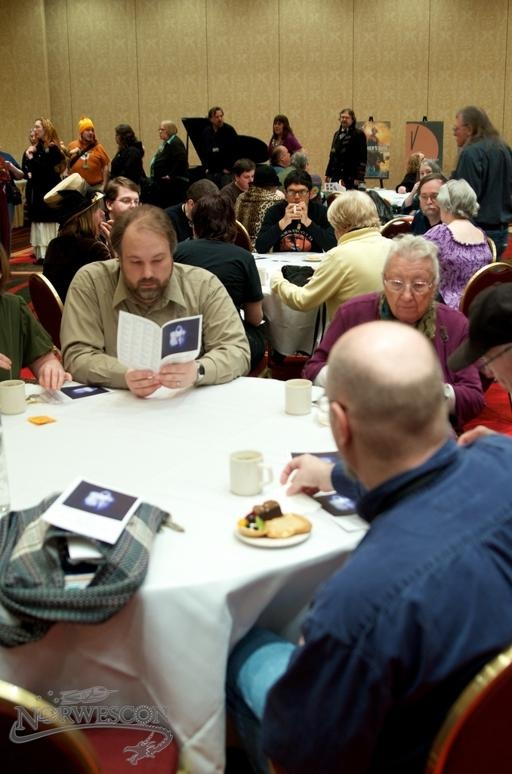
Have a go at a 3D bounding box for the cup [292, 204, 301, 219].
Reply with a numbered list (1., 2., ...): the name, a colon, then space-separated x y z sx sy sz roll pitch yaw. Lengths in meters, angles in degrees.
1. cup: 0.326 -1.386 4.595 0.091 0.118 0.161 0 14 3

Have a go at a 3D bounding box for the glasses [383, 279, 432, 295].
1. glasses: 0.583 -0.381 2.208 0.166 0.054 0.046 3 15 16

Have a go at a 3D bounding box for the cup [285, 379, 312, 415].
1. cup: 0.127 0.033 1.817 0.101 0.102 0.093 2 10 0

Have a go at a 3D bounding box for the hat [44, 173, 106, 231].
1. hat: -1.141 -1.179 3.650 0.322 0.331 0.295 -3 14 -9

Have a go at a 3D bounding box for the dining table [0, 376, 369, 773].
1. dining table: -0.246 0.362 1.228 0.729 0.189 0.651 11 22 28

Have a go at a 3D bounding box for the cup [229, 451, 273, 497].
1. cup: -0.015 0.188 1.327 0.073 0.092 0.111 -12 19 -36

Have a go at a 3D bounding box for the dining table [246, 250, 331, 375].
1. dining table: 0.204 -0.484 3.932 0.783 0.784 0.684 -1 19 -2
